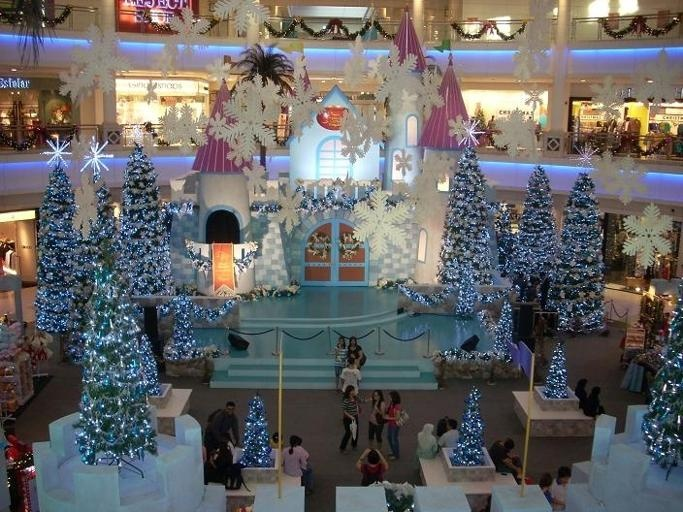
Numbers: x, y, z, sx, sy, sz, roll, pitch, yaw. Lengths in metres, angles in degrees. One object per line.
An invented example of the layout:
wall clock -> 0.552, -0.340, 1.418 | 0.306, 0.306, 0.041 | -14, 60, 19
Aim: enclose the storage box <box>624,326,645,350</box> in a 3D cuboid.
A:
storage box -> 6.929, 1.949, 13.168 | 0.413, 0.556, 0.308 | 4, 8, 30
